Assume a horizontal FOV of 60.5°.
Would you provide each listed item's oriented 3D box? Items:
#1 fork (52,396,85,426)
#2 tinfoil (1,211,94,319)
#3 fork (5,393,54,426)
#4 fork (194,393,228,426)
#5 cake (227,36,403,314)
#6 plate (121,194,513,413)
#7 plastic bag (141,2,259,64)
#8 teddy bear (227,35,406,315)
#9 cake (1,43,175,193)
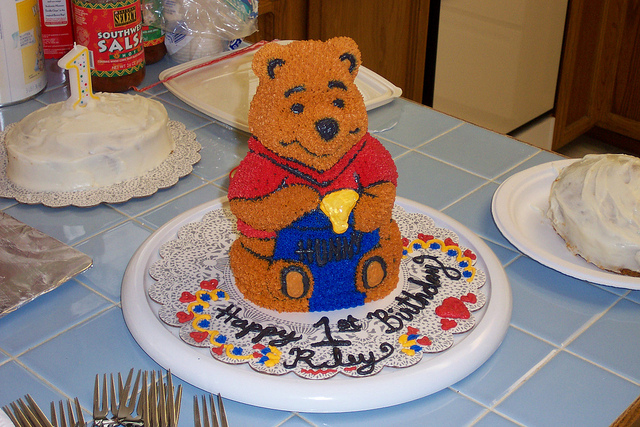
[{"bbox_3d":[-0.324,0.258,0.708,0.041,0.002,0.043,4,40,-38],"label":"fork"},{"bbox_3d":[-0.476,0.056,0.919,0.144,0.030,0.224,-25,48,-21],"label":"tinfoil"},{"bbox_3d":[-0.368,0.258,0.696,0.032,0.014,0.052,-26,66,-32],"label":"fork"},{"bbox_3d":[-0.141,0.257,0.713,0.043,0.003,0.049,-4,53,-25],"label":"fork"},{"bbox_3d":[-0.006,-0.061,0.835,0.272,0.362,0.225,-8,29,-15],"label":"cake"},{"bbox_3d":[-0.008,0.112,0.872,0.606,0.064,0.423,4,45,8],"label":"plate"},{"bbox_3d":[-0.298,-0.522,1.532,0.294,0.165,0.194,23,47,32],"label":"plastic bag"},{"bbox_3d":[0.002,-0.056,0.838,0.273,0.390,0.209,-7,33,-9],"label":"teddy bear"},{"bbox_3d":[-0.471,-0.170,1.216,0.317,0.233,0.319,-3,32,-4],"label":"cake"}]
